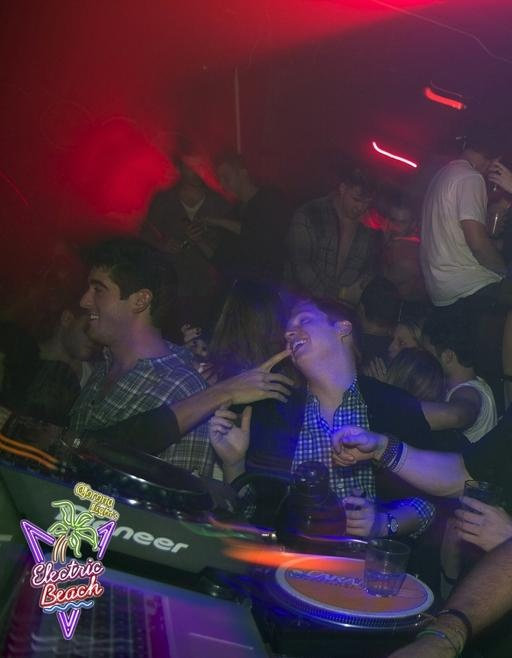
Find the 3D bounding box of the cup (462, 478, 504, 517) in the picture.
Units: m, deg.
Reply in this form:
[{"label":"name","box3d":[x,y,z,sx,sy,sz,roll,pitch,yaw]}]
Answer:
[{"label":"cup","box3d":[0.590,0.437,1.612,0.086,0.073,0.083,10,10,-2]}]

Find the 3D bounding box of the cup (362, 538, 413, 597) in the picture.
[{"label":"cup","box3d":[0.274,0.490,1.261,0.097,0.101,0.089,0,-11,0]}]
